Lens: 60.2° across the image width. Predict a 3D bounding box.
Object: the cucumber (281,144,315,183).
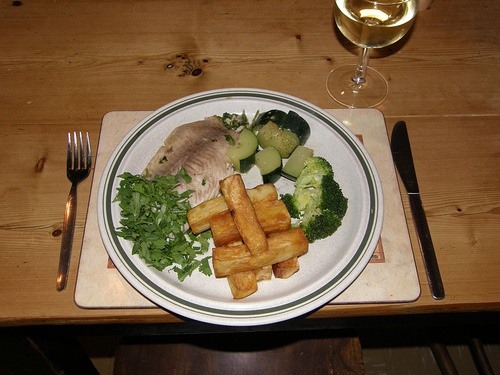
[{"bbox_3d":[0.311,-0.144,2.763,0.174,0.073,0.319,21,76,27],"label":"cucumber"}]
